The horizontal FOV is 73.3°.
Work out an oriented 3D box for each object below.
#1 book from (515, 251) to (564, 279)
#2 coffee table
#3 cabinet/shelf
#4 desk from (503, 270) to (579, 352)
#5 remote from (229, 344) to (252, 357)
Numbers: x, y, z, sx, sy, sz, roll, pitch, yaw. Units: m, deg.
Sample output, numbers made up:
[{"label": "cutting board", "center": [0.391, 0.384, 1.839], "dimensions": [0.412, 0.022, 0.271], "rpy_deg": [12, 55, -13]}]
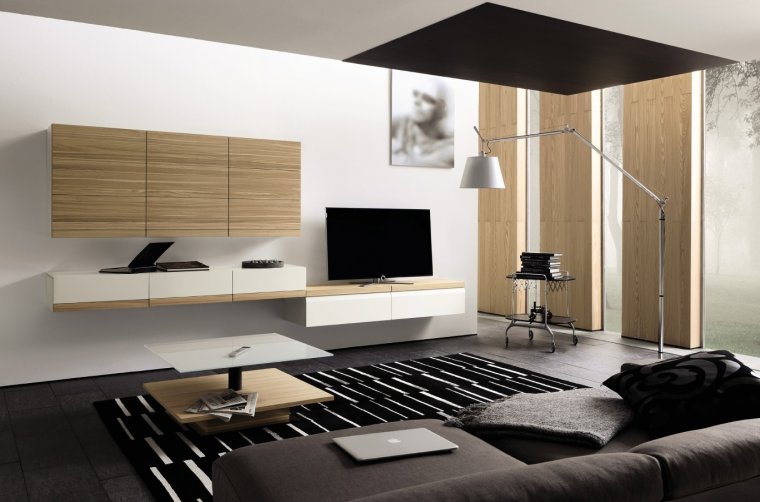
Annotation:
[{"label": "book", "center": [2.082, 0.175, 6.523], "dimensions": [0.384, 0.227, 0.512], "rpy_deg": [-1, 1, -39]}, {"label": "coffee table", "center": [-1.125, 1.035, 4.064], "dimensions": [1.224, 0.493, 1.261], "rpy_deg": [5, -4, -44]}, {"label": "cabinet/shelf", "center": [-1.976, -0.647, 5.152], "dimensions": [2.426, 0.990, 0.449], "rpy_deg": [-4, 10, -42]}, {"label": "desk", "center": [2.092, 0.748, 6.701], "dimensions": [0.885, 0.922, 0.930], "rpy_deg": [-1, 0, 20]}, {"label": "remote", "center": [-1.069, 0.766, 3.921], "dimensions": [0.131, 0.068, 0.308], "rpy_deg": [-8, -7, 1]}]
